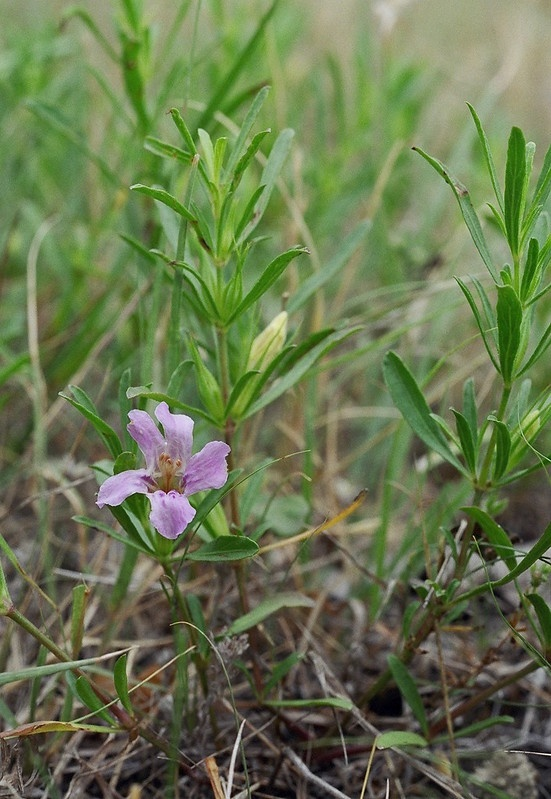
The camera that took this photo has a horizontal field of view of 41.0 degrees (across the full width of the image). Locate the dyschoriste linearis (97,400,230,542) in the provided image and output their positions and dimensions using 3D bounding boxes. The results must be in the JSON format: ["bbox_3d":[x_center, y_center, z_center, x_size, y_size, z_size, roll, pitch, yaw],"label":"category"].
[{"bbox_3d":[-0.111,0.080,0.774,0.154,0.087,0.137,-11,42,13],"label":"dyschoriste linearis"}]
